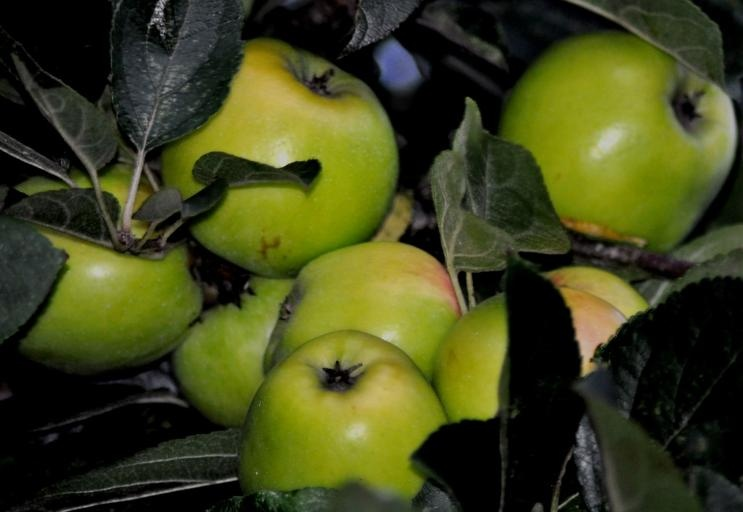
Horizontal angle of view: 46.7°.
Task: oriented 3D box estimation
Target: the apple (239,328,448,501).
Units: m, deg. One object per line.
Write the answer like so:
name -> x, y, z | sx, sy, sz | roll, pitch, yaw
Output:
apple -> -0.038, 0.203, 1.099 | 0.195, 0.219, 0.212 | 11, 56, -2

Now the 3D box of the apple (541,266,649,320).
apple -> 0.320, 0.044, 1.229 | 0.107, 0.062, 0.084 | 18, 12, -13

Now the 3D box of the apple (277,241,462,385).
apple -> 0.003, 0.049, 1.300 | 0.246, 0.200, 0.215 | -18, 4, 23

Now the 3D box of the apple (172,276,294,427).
apple -> -0.216, 0.135, 1.341 | 0.160, 0.221, 0.124 | 3, 0, -42

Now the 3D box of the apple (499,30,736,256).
apple -> 0.384, -0.148, 1.405 | 0.355, 0.319, 0.330 | -6, 11, 11
